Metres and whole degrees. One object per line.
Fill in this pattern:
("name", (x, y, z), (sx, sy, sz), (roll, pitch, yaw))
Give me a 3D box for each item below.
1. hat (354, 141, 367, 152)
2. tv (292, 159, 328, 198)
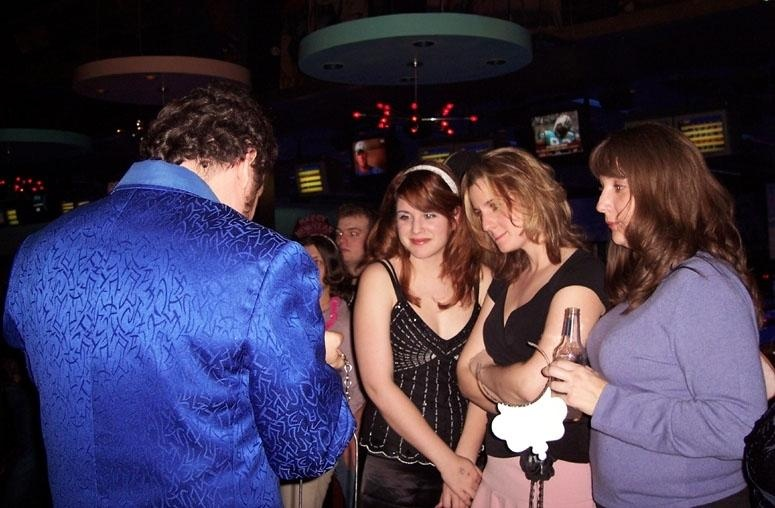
("hat", (-0.438, -1.761, 9.331), (0.126, 0.188, 0.184), (-4, -12, 15))
("tv", (-1.314, -1.298, 9.777), (0.580, 0.548, 0.513), (-2, 0, 18))
